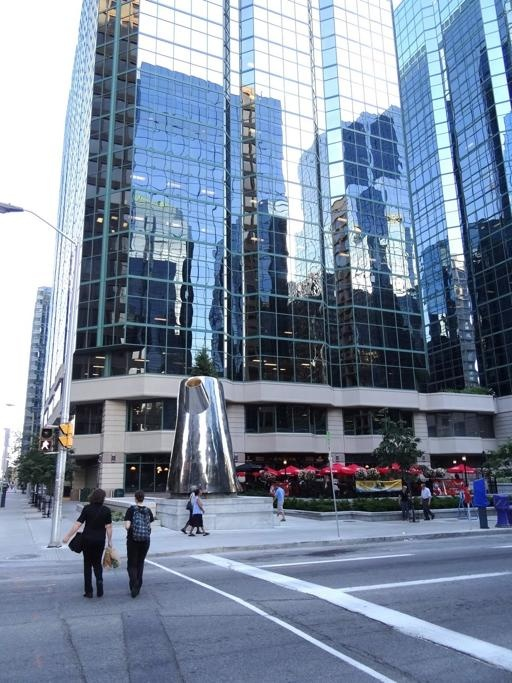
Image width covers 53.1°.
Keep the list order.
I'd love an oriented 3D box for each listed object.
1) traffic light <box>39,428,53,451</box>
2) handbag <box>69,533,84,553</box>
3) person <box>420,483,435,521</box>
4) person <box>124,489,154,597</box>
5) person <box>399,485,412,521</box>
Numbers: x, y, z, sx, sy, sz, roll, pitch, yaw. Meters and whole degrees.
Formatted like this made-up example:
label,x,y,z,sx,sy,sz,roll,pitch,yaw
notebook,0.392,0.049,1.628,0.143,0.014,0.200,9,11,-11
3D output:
label,x,y,z,sx,sy,sz,roll,pitch,yaw
traffic light,-6.283,2.928,15.389,0.352,0.712,0.803,3,-10,-24
handbag,-2.629,2.942,7.527,0.194,0.236,0.356,2,-10,-18
person,7.912,7.390,23.768,0.504,1.532,2.616,-4,-9,18
person,-1.807,3.101,7.888,0.386,1.549,0.669,1,-10,-11
person,6.690,7.171,22.998,0.438,1.607,0.810,-4,-10,13
